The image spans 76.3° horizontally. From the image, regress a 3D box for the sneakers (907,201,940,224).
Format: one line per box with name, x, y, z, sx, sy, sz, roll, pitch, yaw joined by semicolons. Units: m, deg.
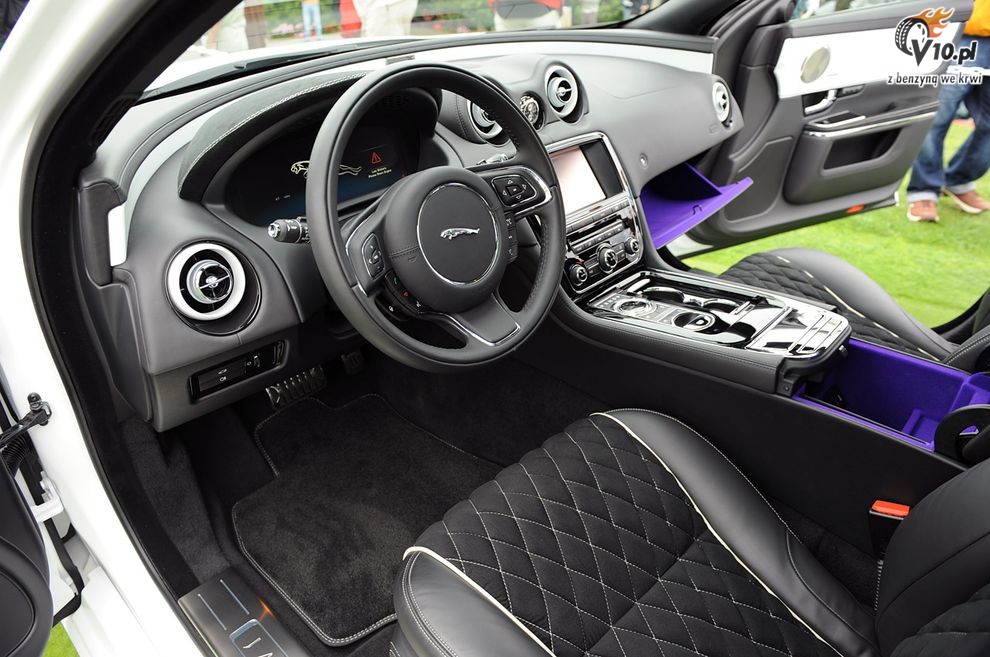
sneakers;2.024;-0.545;2.994;0.073;0.078;0.187;0;10;11
